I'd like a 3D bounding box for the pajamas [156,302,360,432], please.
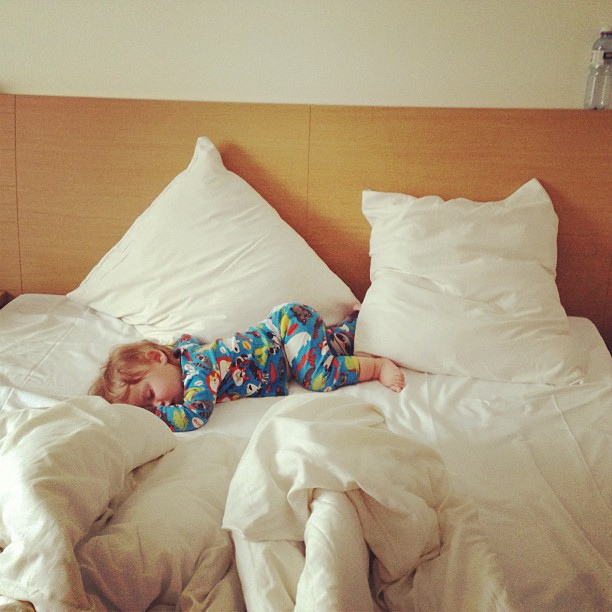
[{"bbox_3d":[-0.126,0.137,1.844,0.647,0.189,0.400,-14,19,-17],"label":"pajamas"}]
